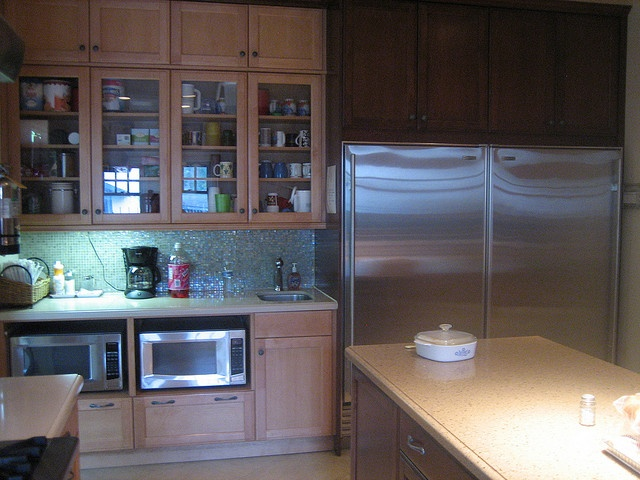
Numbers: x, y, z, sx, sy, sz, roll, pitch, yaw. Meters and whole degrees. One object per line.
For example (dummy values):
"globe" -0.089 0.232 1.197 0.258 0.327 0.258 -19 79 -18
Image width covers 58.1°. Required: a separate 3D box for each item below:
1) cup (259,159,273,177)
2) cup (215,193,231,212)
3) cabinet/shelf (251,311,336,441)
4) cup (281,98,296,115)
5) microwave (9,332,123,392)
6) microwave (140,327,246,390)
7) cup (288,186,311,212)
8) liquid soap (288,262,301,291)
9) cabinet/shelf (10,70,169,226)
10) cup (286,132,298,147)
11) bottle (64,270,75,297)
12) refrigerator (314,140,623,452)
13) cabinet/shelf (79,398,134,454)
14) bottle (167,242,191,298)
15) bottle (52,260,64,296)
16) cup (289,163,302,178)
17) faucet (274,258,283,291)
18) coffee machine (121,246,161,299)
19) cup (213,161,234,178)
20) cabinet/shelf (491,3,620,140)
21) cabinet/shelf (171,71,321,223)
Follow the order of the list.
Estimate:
"cup" -0.370 -0.477 3.864 0.140 0.100 0.090 1 1 -2
"cup" -0.654 -0.246 3.832 0.144 0.120 0.127 0 -1 -8
"cabinet/shelf" -0.164 0.877 3.753 0.537 0.820 0.236 -2 15 0
"cup" -0.210 -0.906 3.937 0.136 0.100 0.088 1 0 -29
"microwave" -1.537 0.711 3.518 0.757 0.365 0.397 0 -3 -10
"microwave" -0.840 0.763 3.772 0.671 0.304 0.325 0 -3 -13
"cup" -0.137 -0.269 3.975 0.205 0.158 0.117 -1 3 -23
"liquid soap" -0.191 0.268 4.241 0.096 0.185 0.176 -2 13 -3
"cabinet/shelf" -1.523 -0.614 3.708 1.384 1.001 0.399 0 0 -9
"cup" -0.200 -0.685 3.907 0.089 0.064 0.098 0 8 -10
"bottle" -1.726 0.300 3.971 0.069 0.153 0.199 -8 14 -23
"refrigerator" 1.005 0.201 4.188 2.172 1.603 0.646 1 -1 -19
"cabinet/shelf" -1.435 1.178 3.608 0.402 0.306 0.263 12 -33 -41
"bottle" -0.997 0.202 4.059 0.159 0.359 0.292 -5 14 -13
"bottle" -1.775 0.265 3.907 0.077 0.214 0.114 -8 16 -24
"cup" -0.170 -0.473 3.917 0.119 0.086 0.082 -2 -2 8
"faucet" -0.301 0.243 4.218 0.080 0.252 0.172 -3 14 -4
"coffee machine" -1.203 0.220 3.892 0.235 0.347 0.113 -5 15 -14
"cup" -0.649 -0.472 3.944 0.168 0.089 0.088 -1 7 -10
"cabinet/shelf" 1.784 -1.176 4.063 0.422 0.849 1.093 -23 29 -30
"cabinet/shelf" -0.538 -0.652 3.888 1.367 0.982 0.389 0 1 -9
